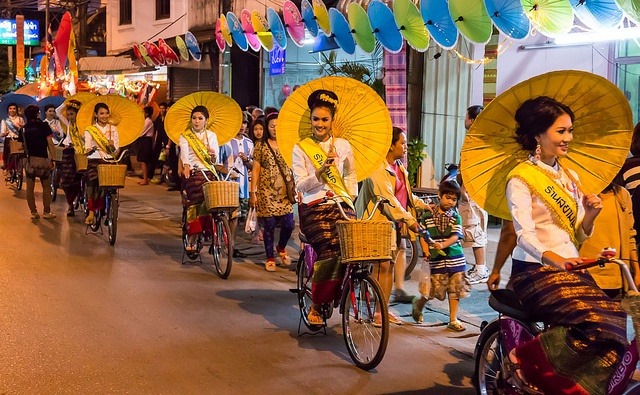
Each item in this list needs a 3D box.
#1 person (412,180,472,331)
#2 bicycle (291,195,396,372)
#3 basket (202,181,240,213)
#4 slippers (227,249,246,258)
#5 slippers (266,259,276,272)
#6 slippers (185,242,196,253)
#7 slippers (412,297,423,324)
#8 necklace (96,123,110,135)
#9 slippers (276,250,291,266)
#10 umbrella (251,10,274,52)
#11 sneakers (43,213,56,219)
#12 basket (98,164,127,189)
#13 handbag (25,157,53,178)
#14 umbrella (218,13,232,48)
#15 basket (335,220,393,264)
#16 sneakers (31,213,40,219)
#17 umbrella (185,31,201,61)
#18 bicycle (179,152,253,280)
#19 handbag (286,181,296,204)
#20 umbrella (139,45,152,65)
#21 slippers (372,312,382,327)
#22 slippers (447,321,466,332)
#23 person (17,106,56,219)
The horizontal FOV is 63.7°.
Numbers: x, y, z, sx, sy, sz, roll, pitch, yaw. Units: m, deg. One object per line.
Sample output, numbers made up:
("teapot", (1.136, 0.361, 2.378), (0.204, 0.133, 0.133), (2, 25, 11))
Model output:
("person", (1.575, 0.741, 6.638), (0.703, 1.793, 0.878), (2, 11, 2))
("bicycle", (0.287, 0.899, 5.819), (0.863, 1.784, 1.500), (-2, 12, -21))
("basket", (-1.519, -0.001, 7.941), (0.475, 0.293, 0.433), (2, -8, -14))
("slippers", (-1.529, 1.045, 9.512), (0.200, 0.078, 0.198), (3, 5, -35))
("slippers", (-0.841, 1.146, 8.694), (0.180, 0.173, 0.217), (1, 11, -6))
("slippers", (-2.219, 0.863, 8.844), (0.185, 0.097, 0.246), (1, -1, -6))
("slippers", (1.253, 1.464, 6.711), (0.120, 0.359, 0.142), (-2, 11, 2))
("necklace", (-4.337, -1.371, 10.307), (0.234, 0.255, 0.067), (-4, -30, -35))
("slippers", (-0.643, 1.082, 9.078), (0.133, 0.143, 0.330), (28, 17, -26))
("umbrella", (-1.369, -4.019, 12.316), (0.201, 0.619, 0.799), (-23, -17, -22))
("sneakers", (-6.147, 0.420, 11.722), (0.261, 0.112, 0.110), (-2, 6, -34))
("basket", (-3.819, -0.387, 9.573), (0.473, 0.368, 0.414), (1, -2, -6))
("handbag", (-6.296, -0.683, 11.554), (0.534, 0.452, 0.267), (3, 11, 4))
("umbrella", (-2.468, -4.322, 13.266), (0.241, 0.139, 0.954), (-6, -36, 7))
("basket", (0.440, 0.452, 5.162), (0.479, 0.313, 0.417), (0, -7, -7))
("sneakers", (-6.389, 0.415, 11.570), (0.162, 0.134, 0.194), (-4, 12, -29))
("umbrella", (-4.128, -4.986, 16.760), (0.437, 1.072, 3.194), (-1, 11, -13))
("bicycle", (-1.850, 0.367, 8.577), (0.877, 1.770, 1.569), (-1, 11, -15))
("handbag", (-0.494, -0.081, 8.706), (0.112, 0.316, 0.234), (-1, -13, -9))
("umbrella", (-6.042, -4.990, 17.851), (0.368, 0.185, 1.249), (43, -7, -21))
("slippers", (0.617, 1.348, 5.636), (0.088, 0.157, 0.283), (3, 11, 7))
("slippers", (1.714, 1.620, 6.497), (0.196, 0.091, 0.113), (-3, -4, 42))
("person", (-6.371, -0.817, 11.734), (0.625, 2.535, 0.912), (-4, 12, -30))
